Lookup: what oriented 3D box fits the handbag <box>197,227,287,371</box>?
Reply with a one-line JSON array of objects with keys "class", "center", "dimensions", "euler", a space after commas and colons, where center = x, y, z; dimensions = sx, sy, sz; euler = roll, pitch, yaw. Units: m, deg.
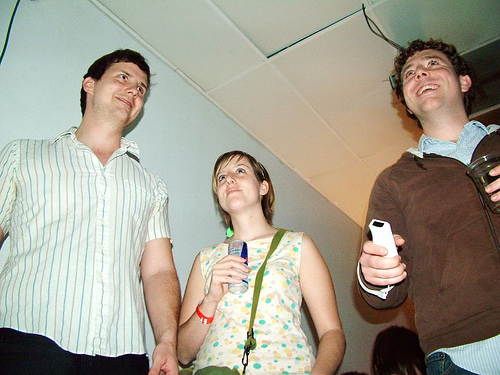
[{"class": "handbag", "center": [0.029, 0.584, 1.851], "dimensions": [0.112, 0.945, 0.188], "euler": [14, -15, 37]}]

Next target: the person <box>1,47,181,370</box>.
[{"class": "person", "center": [-0.758, -0.029, 1.931], "dimensions": [0.911, 1.767, 0.326], "euler": [21, -36, -35]}]

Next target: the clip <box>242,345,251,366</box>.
[{"class": "clip", "center": [-0.018, 0.762, 1.690], "dimensions": [0.041, 0.084, 0.025], "euler": [-13, -31, 20]}]

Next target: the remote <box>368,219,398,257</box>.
[{"class": "remote", "center": [0.544, 0.213, 1.532], "dimensions": [0.097, 0.183, 0.060], "euler": [-22, -13, 19]}]
